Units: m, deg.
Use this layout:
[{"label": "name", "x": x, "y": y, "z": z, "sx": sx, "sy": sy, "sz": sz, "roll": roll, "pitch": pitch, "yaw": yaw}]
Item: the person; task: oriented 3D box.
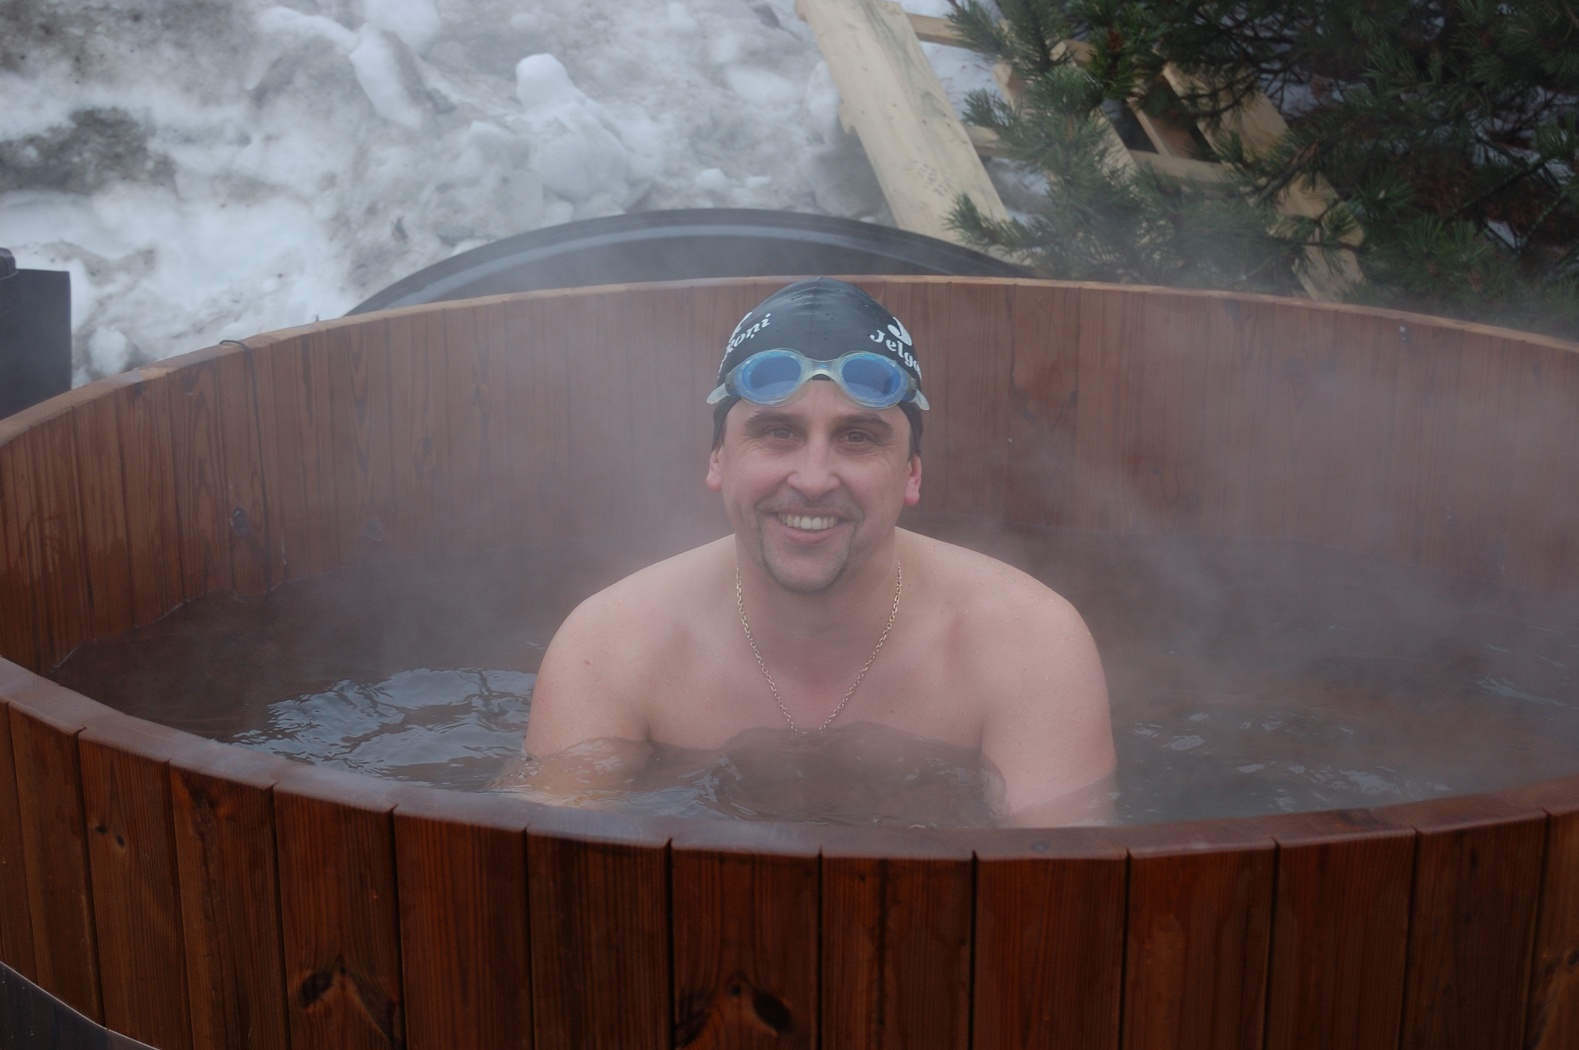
[{"label": "person", "x": 0.057, "y": 0.155, "z": 3.843, "sx": 1.373, "sy": 1.199, "sz": 0.764, "roll": 2, "pitch": 8, "yaw": 6}]

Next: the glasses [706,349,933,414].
[{"label": "glasses", "x": 0.063, "y": -0.314, "z": 3.765, "sx": 0.476, "sy": 0.145, "sz": 0.150, "roll": 0, "pitch": 14, "yaw": -2}]

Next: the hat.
[{"label": "hat", "x": 0.079, "y": -0.366, "z": 4.000, "sx": 0.543, "sy": 0.202, "sz": 0.531, "roll": 3, "pitch": -20, "yaw": -1}]
